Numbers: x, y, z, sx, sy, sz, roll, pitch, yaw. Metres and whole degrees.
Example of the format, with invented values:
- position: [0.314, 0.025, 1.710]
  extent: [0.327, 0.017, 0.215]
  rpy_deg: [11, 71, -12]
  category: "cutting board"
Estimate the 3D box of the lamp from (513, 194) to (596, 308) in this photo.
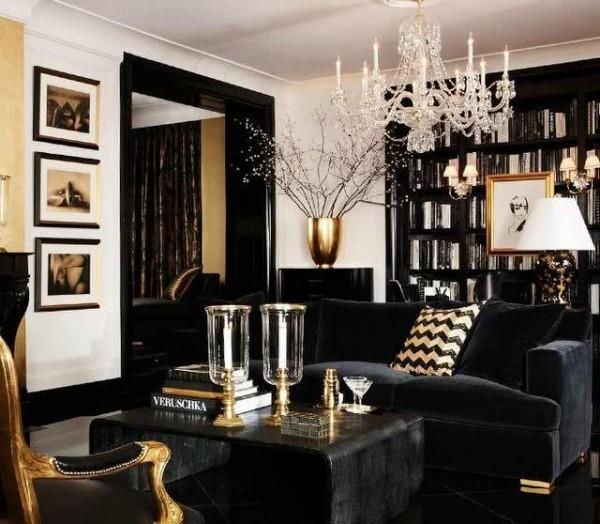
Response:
- position: [1.678, -0.065, 3.862]
  extent: [0.454, 0.710, 0.559]
  rpy_deg: [-1, 2, 16]
  category: "lamp"

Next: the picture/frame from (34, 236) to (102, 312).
- position: [-1.832, 0.087, 4.507]
  extent: [0.041, 0.598, 0.541]
  rpy_deg: [-3, -3, 42]
  category: "picture/frame"

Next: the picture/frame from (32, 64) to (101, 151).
- position: [-1.845, -1.198, 4.510]
  extent: [0.051, 0.724, 0.692]
  rpy_deg: [-2, -3, 38]
  category: "picture/frame"

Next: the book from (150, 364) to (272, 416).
- position: [-0.364, 0.548, 2.499]
  extent: [0.292, 0.125, 0.231]
  rpy_deg: [-1, -2, 34]
  category: "book"

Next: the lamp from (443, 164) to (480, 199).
- position: [1.664, -0.839, 5.959]
  extent: [0.327, 0.345, 0.159]
  rpy_deg: [2, 5, 28]
  category: "lamp"

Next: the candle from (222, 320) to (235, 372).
- position: [-0.274, 0.308, 2.218]
  extent: [0.036, 0.203, 0.021]
  rpy_deg: [-3, 2, -18]
  category: "candle"

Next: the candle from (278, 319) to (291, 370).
- position: [-0.064, 0.306, 2.222]
  extent: [0.043, 0.213, 0.029]
  rpy_deg: [-2, 2, -2]
  category: "candle"

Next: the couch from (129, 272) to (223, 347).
- position: [-1.375, 0.568, 6.665]
  extent: [0.916, 0.747, 0.852]
  rpy_deg: [3, -6, -36]
  category: "couch"

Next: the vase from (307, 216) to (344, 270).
- position: [0.272, -0.219, 6.320]
  extent: [0.347, 0.537, 0.172]
  rpy_deg: [-2, 2, 3]
  category: "vase"

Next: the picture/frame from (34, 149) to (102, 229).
- position: [-1.835, -0.570, 4.517]
  extent: [0.044, 0.656, 0.601]
  rpy_deg: [-1, -1, 41]
  category: "picture/frame"
